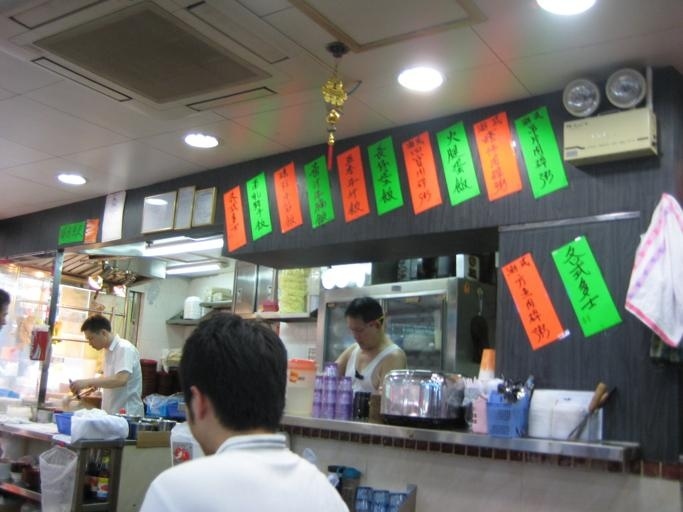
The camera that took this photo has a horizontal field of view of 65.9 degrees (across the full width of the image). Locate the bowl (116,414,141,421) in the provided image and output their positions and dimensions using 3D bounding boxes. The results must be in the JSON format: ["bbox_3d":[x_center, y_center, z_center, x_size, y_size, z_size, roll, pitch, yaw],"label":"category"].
[{"bbox_3d":[-1.739,1.333,4.338,0.127,0.047,0.105,9,-11,-20],"label":"bowl"}]

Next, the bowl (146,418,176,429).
[{"bbox_3d":[-1.425,1.346,4.245,0.129,0.078,0.211,0,-6,10],"label":"bowl"}]

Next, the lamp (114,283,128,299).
[{"bbox_3d":[-3.470,0.564,8.319,0.213,0.232,0.392,3,-6,-21],"label":"lamp"}]

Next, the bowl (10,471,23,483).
[{"bbox_3d":[-2.690,1.837,4.384,0.100,0.071,0.100,1,-12,0],"label":"bowl"}]

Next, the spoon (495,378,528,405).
[{"bbox_3d":[0.898,0.725,2.798,0.140,0.051,0.108,2,-3,-1],"label":"spoon"}]

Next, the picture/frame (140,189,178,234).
[{"bbox_3d":[-1.682,-0.401,4.927,0.362,0.337,0.054,-12,-20,39],"label":"picture/frame"}]

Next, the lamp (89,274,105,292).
[{"bbox_3d":[-3.678,0.399,7.947,0.247,0.193,0.490,6,-12,-24],"label":"lamp"}]

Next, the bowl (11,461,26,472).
[{"bbox_3d":[-2.669,1.753,4.385,0.112,0.088,0.115,3,-1,0],"label":"bowl"}]

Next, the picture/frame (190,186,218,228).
[{"bbox_3d":[-1.195,-0.417,4.648,0.311,0.422,0.067,-8,-19,32],"label":"picture/frame"}]

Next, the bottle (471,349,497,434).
[{"bbox_3d":[0.766,0.758,2.945,0.135,0.427,0.148,10,-7,1],"label":"bottle"}]

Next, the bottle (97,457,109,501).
[{"bbox_3d":[-1.759,1.647,3.918,0.092,0.271,0.245,6,-12,-23],"label":"bottle"}]
